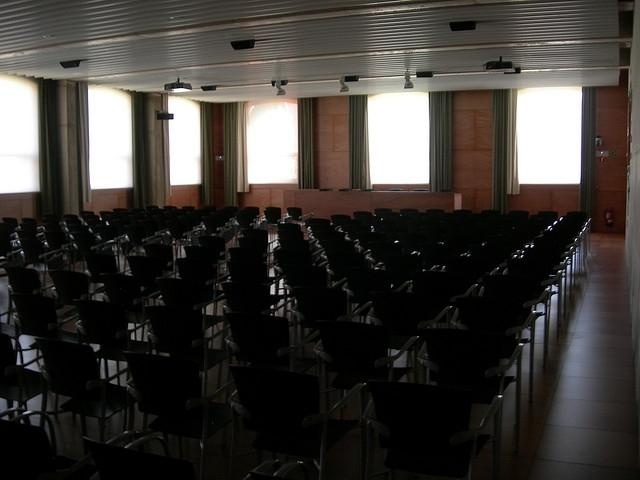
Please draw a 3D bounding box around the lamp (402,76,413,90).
[{"bbox_3d":[2.220,-4.005,13.252,0.341,0.140,0.549,-3,34,11],"label":"lamp"}]
